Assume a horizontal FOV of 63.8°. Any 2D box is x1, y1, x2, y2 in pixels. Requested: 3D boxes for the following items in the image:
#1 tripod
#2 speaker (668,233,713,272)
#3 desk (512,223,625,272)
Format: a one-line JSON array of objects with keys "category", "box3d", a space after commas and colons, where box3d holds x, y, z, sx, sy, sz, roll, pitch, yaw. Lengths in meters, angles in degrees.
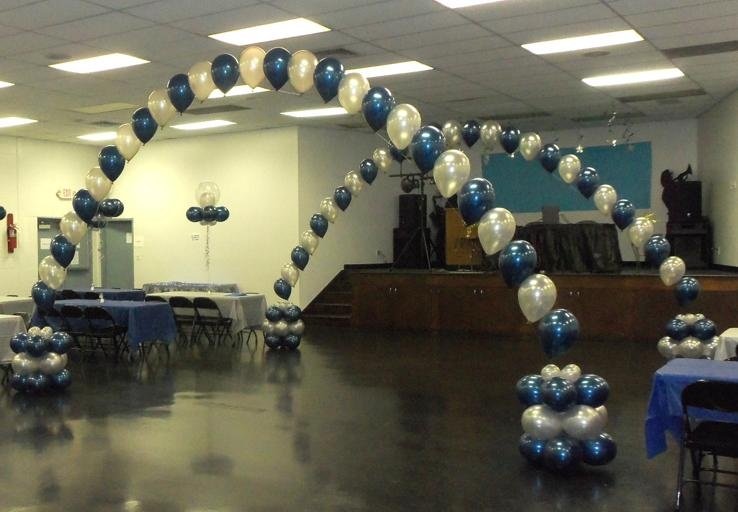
[{"category": "tripod", "box3d": [1.348, -0.750, 15.633, 1.071, 2.825, 0.692, 2, 4, 33]}, {"category": "speaker", "box3d": [7.668, -0.114, 13.950, 1.024, 1.104, 0.766, -1, 0, 22]}, {"category": "desk", "box3d": [4.326, -0.200, 12.437, 1.625, 0.898, 1.086, 0, 3, 23]}]
